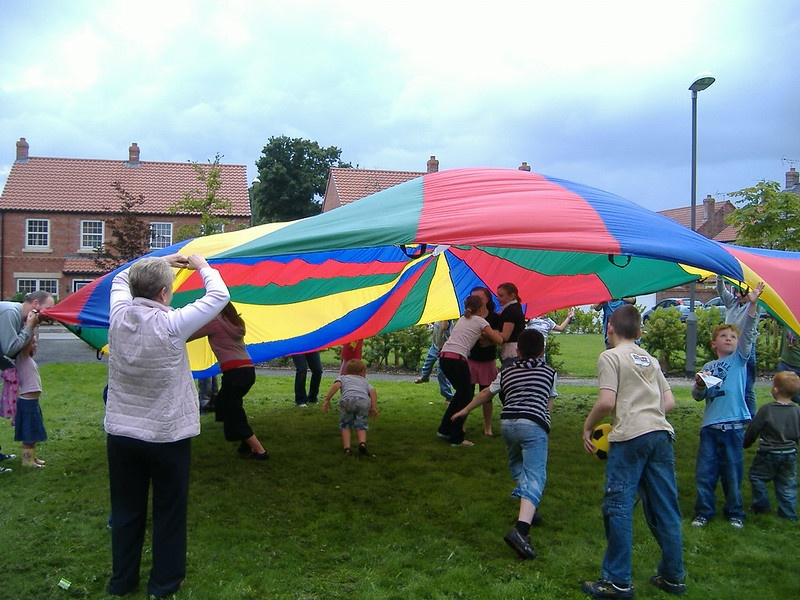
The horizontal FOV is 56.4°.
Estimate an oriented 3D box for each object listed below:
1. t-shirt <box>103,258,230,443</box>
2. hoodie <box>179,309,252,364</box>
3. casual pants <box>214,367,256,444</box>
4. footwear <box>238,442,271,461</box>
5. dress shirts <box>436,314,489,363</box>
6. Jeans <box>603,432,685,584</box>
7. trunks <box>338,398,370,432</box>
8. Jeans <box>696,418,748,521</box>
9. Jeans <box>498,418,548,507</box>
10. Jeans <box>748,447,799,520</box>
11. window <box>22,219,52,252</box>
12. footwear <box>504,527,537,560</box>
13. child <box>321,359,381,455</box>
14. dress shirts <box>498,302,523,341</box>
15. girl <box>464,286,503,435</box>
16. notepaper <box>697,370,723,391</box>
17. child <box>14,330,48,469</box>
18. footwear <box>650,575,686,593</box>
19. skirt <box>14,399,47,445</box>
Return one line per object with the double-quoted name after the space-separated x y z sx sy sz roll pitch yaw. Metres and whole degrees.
-1.924 0.383 6.032 1.095 1.377 0.766 7 9 18 "t-shirt"
-1.959 0.451 8.134 0.591 0.543 0.572 -3 -9 -45 "hoodie"
-1.762 1.125 8.243 0.480 0.888 0.494 -1 -1 -24 "casual pants"
-1.704 1.760 8.527 0.448 0.188 0.161 11 -4 12 "footwear"
0.764 0.454 8.815 0.541 0.562 0.316 5 -21 35 "dress shirts"
1.978 1.680 6.019 0.679 1.240 0.447 1 10 1 "Jeans"
-0.501 1.323 8.649 0.368 0.382 0.211 -2 10 -12 "trunks"
3.070 1.631 7.105 0.440 0.892 0.444 3 10 14 "Jeans"
1.139 1.406 6.660 0.374 0.678 0.652 -1 10 -6 "Jeans"
3.652 1.809 7.256 0.521 0.905 0.375 4 -29 19 "Jeans"
-15.686 -2.846 32.249 1.482 2.033 0.211 0 1 -20 "window"
1.040 2.099 6.343 0.226 0.260 0.210 6 11 29 "footwear"
-0.575 1.252 8.792 0.639 1.191 0.418 4 -25 -9 "child"
1.329 0.255 8.802 0.248 0.433 0.472 -1 0 22 "dress shirts"
1.113 0.762 9.359 0.452 1.667 0.528 -12 14 -10 "girl"
2.885 0.753 6.898 0.205 0.077 0.192 -13 36 -33 "notepaper"
-4.038 1.055 8.186 0.349 1.514 0.673 -2 -6 -21 "child"
2.180 2.308 6.039 0.110 0.106 0.248 2 6 -38 "footwear"
-4.019 1.330 8.117 0.288 0.510 0.215 -4 11 -26 "skirt"
